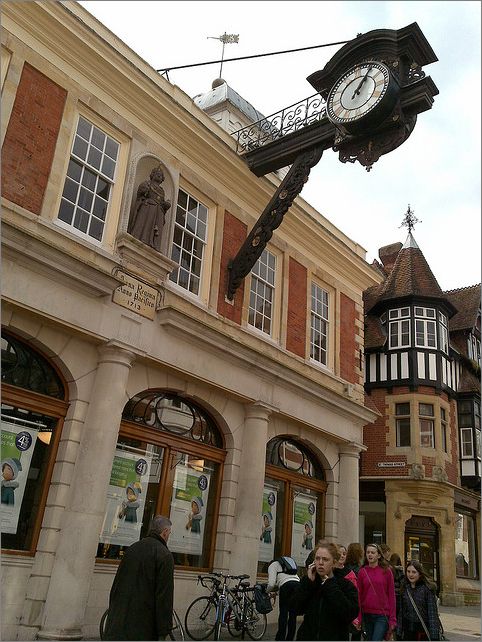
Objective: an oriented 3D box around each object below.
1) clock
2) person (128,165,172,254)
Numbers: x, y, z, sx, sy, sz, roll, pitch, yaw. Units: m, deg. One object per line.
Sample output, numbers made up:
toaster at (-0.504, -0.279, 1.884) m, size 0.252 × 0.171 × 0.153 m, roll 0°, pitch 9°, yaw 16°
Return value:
clock at (2.066, -4.006, 9.032) m, size 1.191 × 0.110 × 1.218 m, roll -27°, pitch -29°, yaw -2°
person at (-1.477, -1.976, 8.654) m, size 0.297 × 1.767 × 0.649 m, roll -13°, pitch -30°, yaw 40°
